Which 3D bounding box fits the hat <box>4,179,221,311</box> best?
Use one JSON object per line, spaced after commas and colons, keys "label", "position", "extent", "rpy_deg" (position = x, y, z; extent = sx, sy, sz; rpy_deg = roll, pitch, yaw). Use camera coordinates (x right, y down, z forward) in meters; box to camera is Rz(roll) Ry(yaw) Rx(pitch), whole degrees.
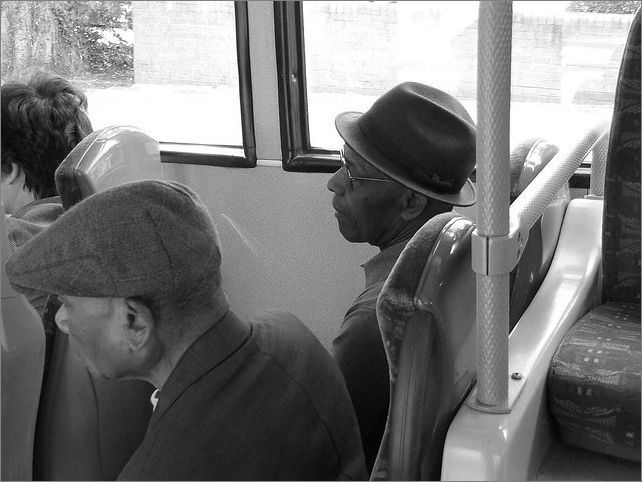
{"label": "hat", "position": [-0.434, 0.010, 1.358], "extent": [0.353, 0.207, 0.251], "rpy_deg": [5, 17, -11]}

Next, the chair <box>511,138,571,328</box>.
{"label": "chair", "position": [0.549, -0.003, 1.618], "extent": [0.120, 0.395, 0.262], "rpy_deg": [17, -23, -9]}

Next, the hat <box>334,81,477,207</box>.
{"label": "hat", "position": [0.298, -0.347, 2.165], "extent": [0.406, 0.175, 0.423], "rpy_deg": [32, 37, -1]}
